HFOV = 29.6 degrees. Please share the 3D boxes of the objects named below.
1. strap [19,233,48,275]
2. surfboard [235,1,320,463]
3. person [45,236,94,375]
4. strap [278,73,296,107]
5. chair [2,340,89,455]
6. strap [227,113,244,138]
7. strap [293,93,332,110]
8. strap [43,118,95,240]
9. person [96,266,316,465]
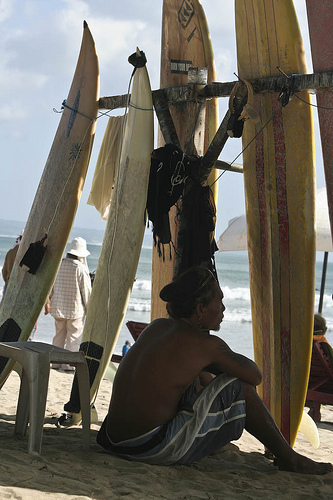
[{"bbox_3d":[-0.892,0.028,4.247,0.124,0.254,0.078,25,-5,11],"label":"strap"},{"bbox_3d":[0.643,-0.097,3.809,0.506,3.953,0.442,0,-3,1],"label":"surfboard"},{"bbox_3d":[-0.971,0.512,6.179,0.434,1.367,0.385,7,15,0],"label":"person"},{"bbox_3d":[0.662,-0.885,3.469,0.088,0.215,0.052,-21,51,-24],"label":"strap"},{"bbox_3d":[-0.508,0.632,2.917,0.450,0.527,0.415,1,-1,-23],"label":"chair"},{"bbox_3d":[0.365,-0.663,3.339,0.069,0.133,0.038,-2,13,-8],"label":"strap"},{"bbox_3d":[0.813,-0.826,3.521,0.213,0.079,0.053,7,-1,4],"label":"strap"},{"bbox_3d":[-0.654,-0.518,4.433,0.253,0.897,0.034,14,-9,22],"label":"strap"},{"bbox_3d":[0.165,0.520,2.863,0.846,0.865,0.644,4,-2,-18],"label":"person"}]
